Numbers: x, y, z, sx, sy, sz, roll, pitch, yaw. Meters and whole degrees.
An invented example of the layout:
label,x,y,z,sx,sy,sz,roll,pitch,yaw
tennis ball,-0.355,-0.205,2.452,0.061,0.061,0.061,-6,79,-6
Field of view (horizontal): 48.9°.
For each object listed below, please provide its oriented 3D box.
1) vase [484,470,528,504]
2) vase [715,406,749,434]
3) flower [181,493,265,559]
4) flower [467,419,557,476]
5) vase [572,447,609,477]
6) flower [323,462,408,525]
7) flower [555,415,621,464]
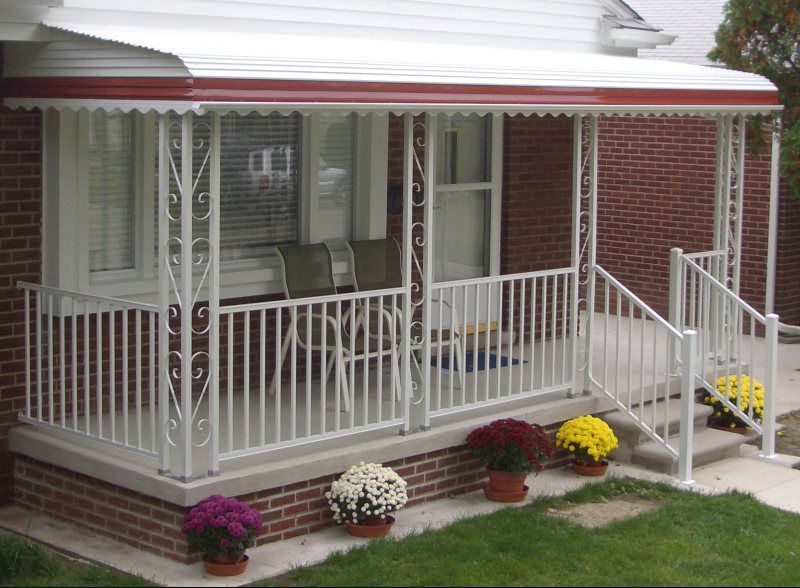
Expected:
label,x,y,z,sx,sy,sz,roll,pitch,yaw
vase,0.921,1.697,7.689,0.305,0.219,0.309,1,2,-4
vase,3.597,1.395,9.664,0.282,0.200,0.289,4,9,19
flower,-1.245,1.749,6.392,0.498,0.455,0.504,-22,-35,37
flower,0.948,1.383,7.902,0.706,0.478,0.678,-7,-7,-29
vase,1.822,1.606,8.390,0.247,0.091,0.250,0,9,-8
flower,-0.230,1.667,7.102,0.598,0.483,0.634,-12,-26,38
flower,1.771,1.368,8.413,0.465,0.338,0.467,4,9,28
